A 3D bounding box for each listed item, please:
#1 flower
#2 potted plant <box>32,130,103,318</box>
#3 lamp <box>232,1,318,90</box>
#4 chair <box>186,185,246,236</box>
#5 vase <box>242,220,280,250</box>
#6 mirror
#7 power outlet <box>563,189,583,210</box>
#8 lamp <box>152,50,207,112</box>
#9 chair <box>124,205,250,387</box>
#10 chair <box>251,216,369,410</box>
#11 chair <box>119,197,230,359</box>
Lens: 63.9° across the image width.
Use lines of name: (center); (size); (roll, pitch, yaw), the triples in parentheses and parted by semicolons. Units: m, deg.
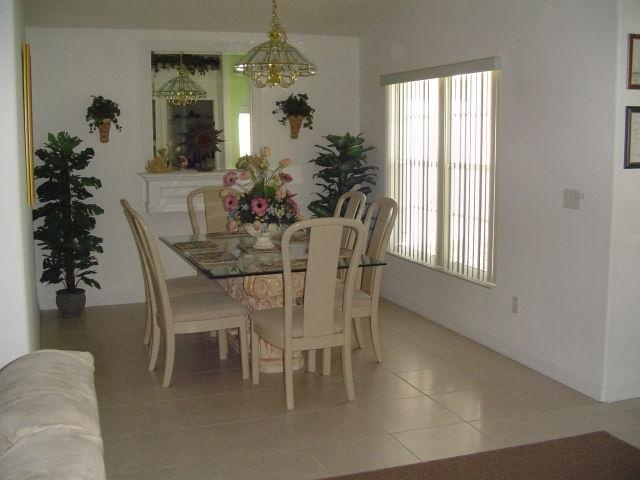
flower: (-0.444, -0.360, 4.357); (0.687, 0.824, 0.600); (-18, 38, -35)
potted plant: (-2.640, -0.155, 5.472); (0.709, 1.945, 0.686); (-7, 12, -30)
lamp: (-0.434, -1.738, 4.487); (0.605, 0.890, 1.690); (-2, 11, -8)
chair: (-1.013, -0.304, 5.040); (0.402, 0.782, 0.468); (-6, 14, -24)
vase: (-0.461, -0.037, 4.143); (0.217, 0.183, 0.230); (4, 7, 22)
mirror: (-1.445, -1.555, 5.829); (1.641, 2.156, 0.136); (-1, 9, -15)
power outlet: (1.827, -0.293, 3.703); (0.013, 0.139, 0.129); (-4, 14, -20)
lamp: (-1.616, -1.913, 6.020); (0.491, 0.643, 0.509); (7, 12, 29)
chair: (-1.084, 0.432, 4.137); (0.782, 1.394, 0.869); (-5, 9, -24)
chair: (-0.079, 0.461, 3.690); (0.850, 1.340, 0.826); (-2, 10, -9)
chair: (-1.041, 0.431, 4.124); (0.833, 1.407, 0.788); (-3, 9, -16)
